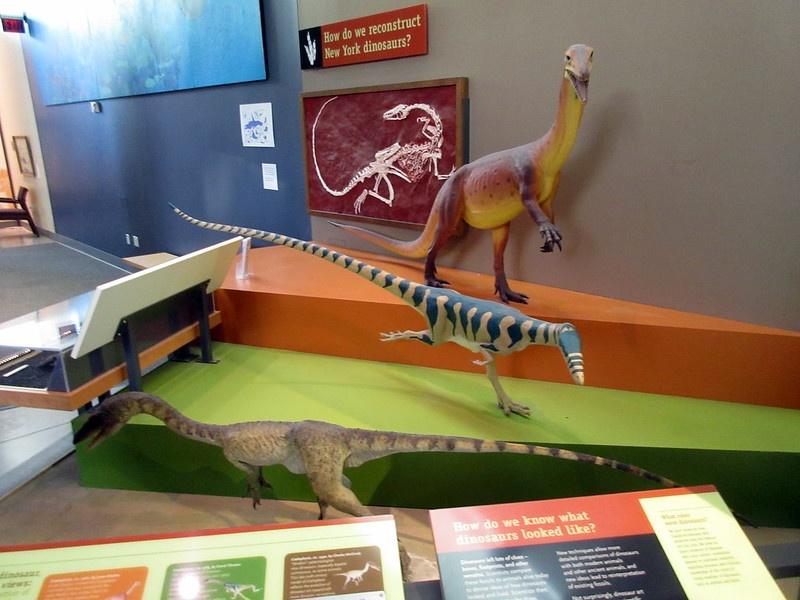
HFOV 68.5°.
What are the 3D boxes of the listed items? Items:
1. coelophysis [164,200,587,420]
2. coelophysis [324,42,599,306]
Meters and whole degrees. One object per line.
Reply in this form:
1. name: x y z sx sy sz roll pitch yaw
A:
1. coelophysis: 0.160 0.116 2.713 1.319 0.693 0.507 -1 -22 20
2. coelophysis: 0.390 -0.593 3.164 1.545 1.166 0.444 2 1 42
